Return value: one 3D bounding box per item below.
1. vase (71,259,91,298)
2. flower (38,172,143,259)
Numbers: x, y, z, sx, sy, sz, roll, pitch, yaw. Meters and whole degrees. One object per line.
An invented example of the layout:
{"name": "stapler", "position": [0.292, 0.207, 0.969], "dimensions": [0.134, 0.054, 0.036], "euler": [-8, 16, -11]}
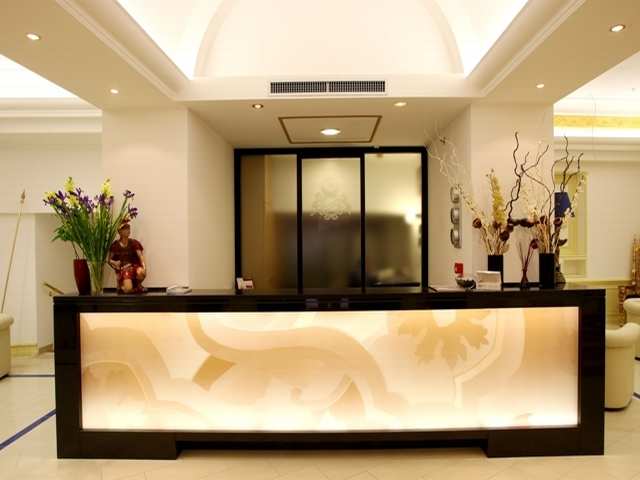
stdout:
{"name": "vase", "position": [-2.349, 0.366, 4.700], "dimensions": [0.149, 0.268, 0.168], "euler": [-1, 1, -17]}
{"name": "flower", "position": [-2.495, -0.227, 5.196], "dimensions": [0.991, 1.087, 0.935], "euler": [-5, 5, -23]}
